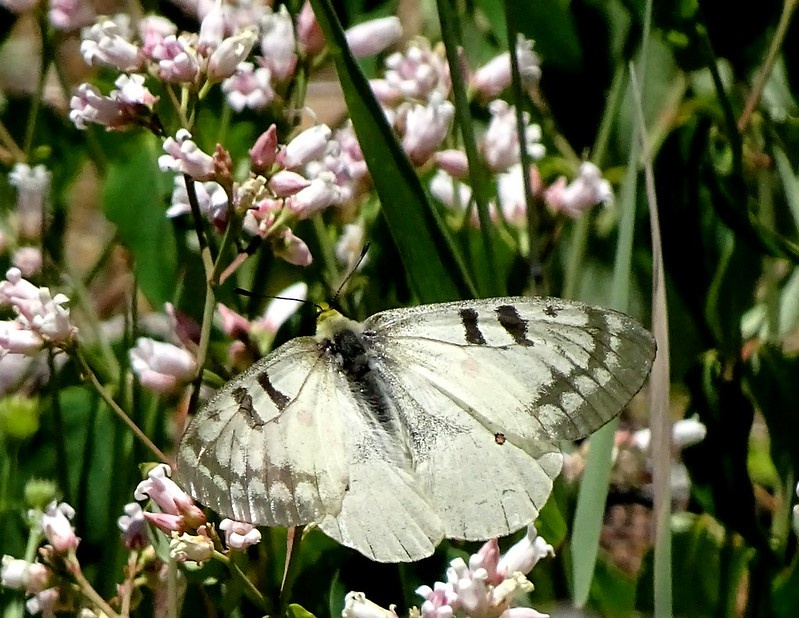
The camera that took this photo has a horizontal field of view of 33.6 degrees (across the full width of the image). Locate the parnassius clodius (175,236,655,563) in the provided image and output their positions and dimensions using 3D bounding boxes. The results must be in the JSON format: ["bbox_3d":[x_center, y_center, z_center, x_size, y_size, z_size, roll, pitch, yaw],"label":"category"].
[{"bbox_3d":[0.037,0.189,2.041,0.647,0.300,0.461,12,65,14],"label":"parnassius clodius"}]

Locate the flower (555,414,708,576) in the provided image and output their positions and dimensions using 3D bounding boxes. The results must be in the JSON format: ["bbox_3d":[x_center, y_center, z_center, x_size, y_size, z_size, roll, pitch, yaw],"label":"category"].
[{"bbox_3d":[0.372,0.301,2.236,0.234,0.133,0.277,-5,67,31],"label":"flower"}]
